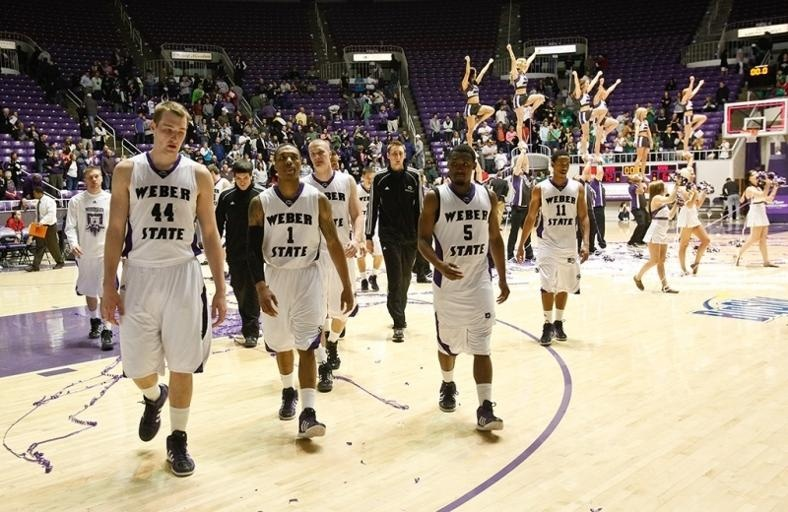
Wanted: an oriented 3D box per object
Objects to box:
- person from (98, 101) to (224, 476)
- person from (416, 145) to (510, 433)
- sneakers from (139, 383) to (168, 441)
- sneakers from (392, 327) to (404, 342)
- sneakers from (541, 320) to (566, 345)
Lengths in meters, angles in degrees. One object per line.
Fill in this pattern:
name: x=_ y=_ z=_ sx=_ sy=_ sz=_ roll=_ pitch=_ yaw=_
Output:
person: x=-1.552 y=0.221 z=4.224 sx=0.732 sy=2.525 sz=0.535 roll=2 pitch=12 yaw=13
person: x=0.539 y=0.231 z=4.823 sx=0.716 sy=2.190 sz=0.695 roll=2 pitch=11 yaw=10
sneakers: x=-1.754 y=1.175 z=4.476 sx=0.158 sy=0.487 sz=0.205 roll=5 pitch=2 yaw=3
sneakers: x=0.049 y=0.870 z=6.849 sx=0.138 sy=0.149 sz=0.314 roll=0 pitch=11 yaw=2
sneakers: x=1.763 y=0.838 z=6.686 sx=0.203 sy=0.224 sz=0.408 roll=7 pitch=14 yaw=33
